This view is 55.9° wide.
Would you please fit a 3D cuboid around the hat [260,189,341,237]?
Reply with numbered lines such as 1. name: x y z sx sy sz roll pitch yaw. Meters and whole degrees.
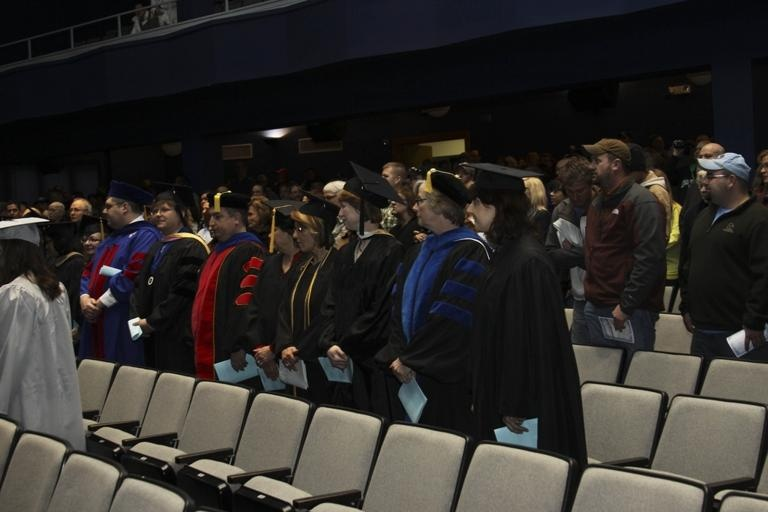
1. hat: -0.677 -0.407 6.333 0.473 0.218 0.447 4 15 -26

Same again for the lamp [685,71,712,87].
1. lamp: 5.459 -3.084 12.626 0.358 0.180 0.516 -1 1 18

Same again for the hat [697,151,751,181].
1. hat: 2.777 -0.741 5.937 0.390 0.153 0.249 13 6 18

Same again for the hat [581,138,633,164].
1. hat: 1.926 -0.918 6.226 0.352 0.115 0.215 7 4 9
